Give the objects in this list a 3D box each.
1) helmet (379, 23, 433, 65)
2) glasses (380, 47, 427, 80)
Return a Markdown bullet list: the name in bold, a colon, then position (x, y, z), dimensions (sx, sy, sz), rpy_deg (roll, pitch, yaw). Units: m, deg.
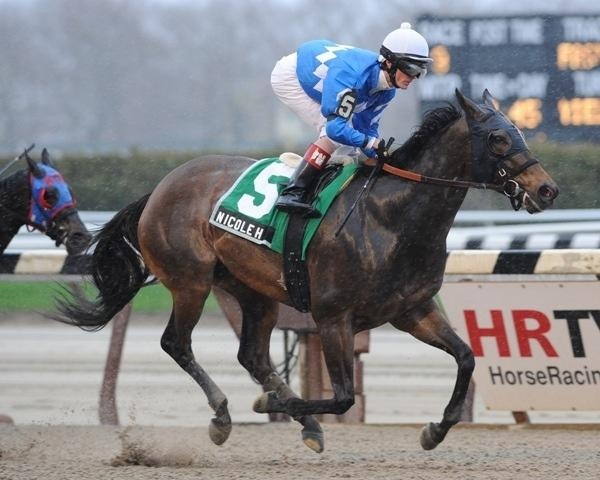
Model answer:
- **helmet**: position (0.712, -1.311, 9.279), dimensions (0.337, 0.210, 0.240), rpy_deg (7, 10, 29)
- **glasses**: position (0.704, -1.185, 9.232), dimensions (0.263, 0.115, 0.207), rpy_deg (20, 9, 24)
